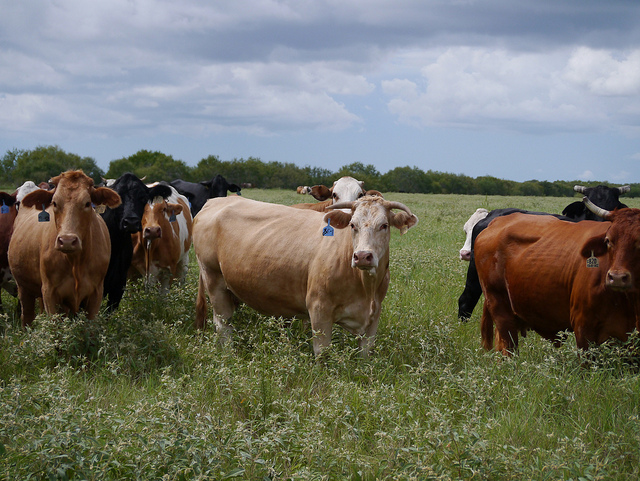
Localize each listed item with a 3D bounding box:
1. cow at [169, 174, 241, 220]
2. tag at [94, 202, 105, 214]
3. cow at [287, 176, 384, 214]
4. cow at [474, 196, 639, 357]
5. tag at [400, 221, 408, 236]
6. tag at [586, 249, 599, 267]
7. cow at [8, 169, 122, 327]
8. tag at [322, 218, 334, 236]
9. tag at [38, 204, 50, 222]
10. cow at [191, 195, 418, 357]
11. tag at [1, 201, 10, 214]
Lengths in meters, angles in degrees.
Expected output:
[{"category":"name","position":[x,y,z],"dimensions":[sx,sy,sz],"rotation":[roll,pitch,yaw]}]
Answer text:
[{"category":"cow","position":[-3.831,-1.188,19.589],"dimensions":[1.258,1.791,3.017],"rotation":[9,2,-31]},{"category":"tag","position":[-3.341,-0.466,9.127],"dimensions":[0.141,0.181,0.176],"rotation":[-7,-23,5]},{"category":"cow","position":[0.325,-0.885,11.656],"dimensions":[0.848,0.835,1.658],"rotation":[-2,5,-31]},{"category":"cow","position":[3.152,0.576,7.973],"dimensions":[0.601,2.231,2.413],"rotation":[0,6,-23]},{"category":"tag","position":[1.084,-0.152,7.745],"dimensions":[0.048,0.157,0.102],"rotation":[19,-5,-39]},{"category":"tag","position":[3.275,0.223,7.226],"dimensions":[0.175,0.269,0.139],"rotation":[-1,-12,19]},{"category":"cow","position":[-3.735,0.211,8.877],"dimensions":[1.162,2.515,2.119],"rotation":[-1,7,-39]},{"category":"tag","position":[0.112,-0.174,7.930],"dimensions":[0.140,0.259,0.293],"rotation":[4,6,7]},{"category":"tag","position":[-4.001,-0.391,8.725],"dimensions":[0.141,0.255,0.302],"rotation":[0,7,-26]},{"category":"cow","position":[-0.347,0.368,8.510],"dimensions":[3.443,2.171,0.835],"rotation":[9,8,41]},{"category":"tag","position":[-5.285,-0.569,10.098],"dimensions":[0.150,0.295,0.028],"rotation":[-4,-11,-20]}]
